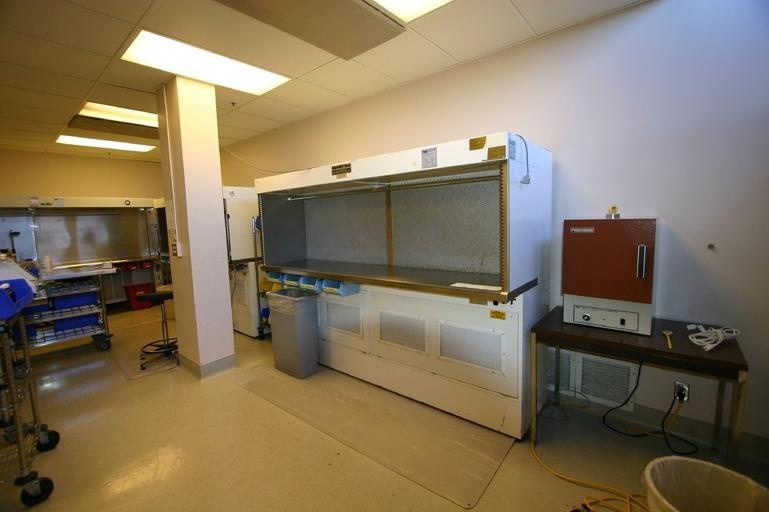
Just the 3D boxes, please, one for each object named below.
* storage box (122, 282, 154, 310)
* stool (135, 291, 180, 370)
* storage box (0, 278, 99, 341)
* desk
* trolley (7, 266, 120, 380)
[{"bbox_3d":[-3.928,0.629,8.077,0.353,0.438,0.458,-3,-3,38],"label":"storage box"},{"bbox_3d":[-2.795,0.882,6.418,0.619,0.828,0.624,-3,8,-17],"label":"stool"},{"bbox_3d":[-4.138,0.699,6.523,0.879,0.803,0.758,-4,0,-45],"label":"storage box"},{"bbox_3d":[2.249,1.298,4.741,1.625,1.196,0.934,6,7,30],"label":"desk"},{"bbox_3d":[-4.046,0.667,6.654,1.421,1.204,1.071,-5,5,-43],"label":"trolley"}]
